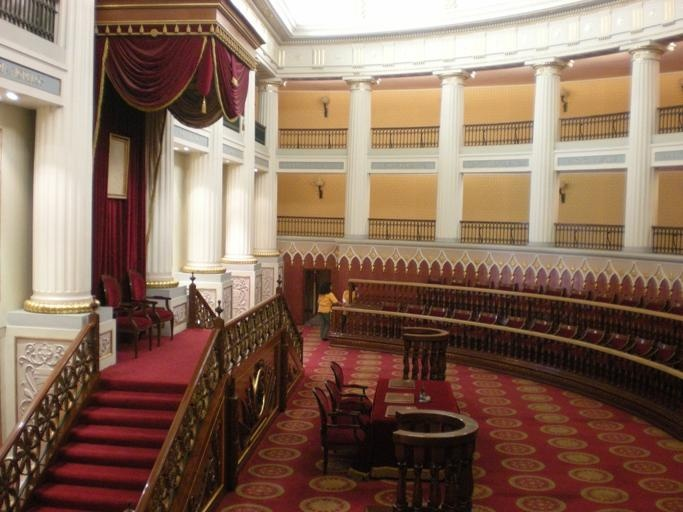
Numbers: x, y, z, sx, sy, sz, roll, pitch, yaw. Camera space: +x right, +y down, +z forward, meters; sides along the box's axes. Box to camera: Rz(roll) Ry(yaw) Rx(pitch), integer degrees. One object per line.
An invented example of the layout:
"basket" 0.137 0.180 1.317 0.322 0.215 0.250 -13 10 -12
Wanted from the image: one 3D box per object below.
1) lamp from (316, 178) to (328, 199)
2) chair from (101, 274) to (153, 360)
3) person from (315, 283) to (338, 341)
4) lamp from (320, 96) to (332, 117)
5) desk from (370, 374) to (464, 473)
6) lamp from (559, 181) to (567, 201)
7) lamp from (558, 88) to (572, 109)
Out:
"lamp" -0.837 -2.589 20.007 0.348 0.777 0.320 1 4 6
"chair" -3.204 0.837 7.698 0.676 1.125 1.389 -2 5 -24
"person" -0.355 1.490 13.751 0.493 1.536 0.904 0 4 -1
"lamp" -0.610 -5.726 19.645 0.309 0.772 0.509 0 4 -3
"desk" 1.018 2.289 7.198 1.228 0.563 2.302 0 -2 5
"lamp" 7.597 -2.175 17.635 0.251 0.709 0.070 1 4 13
"lamp" 7.517 -5.265 17.351 0.258 0.790 0.497 3 5 31
